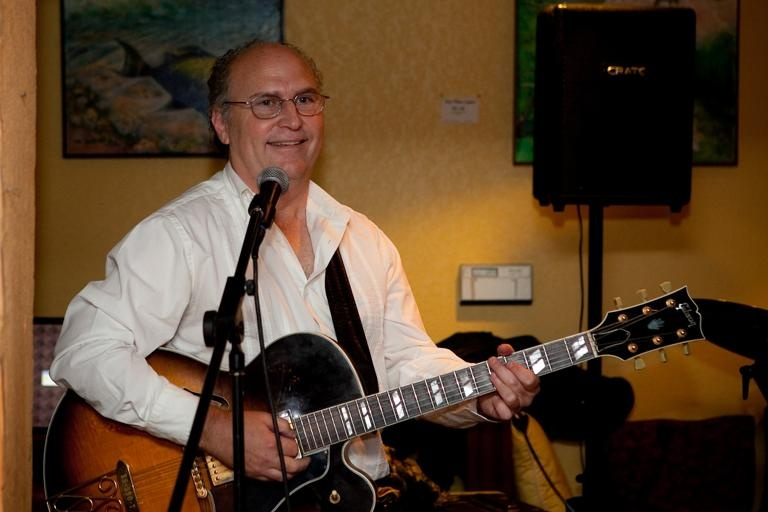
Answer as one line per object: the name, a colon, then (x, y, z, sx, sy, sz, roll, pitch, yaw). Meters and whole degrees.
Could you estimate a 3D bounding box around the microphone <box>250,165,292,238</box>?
microphone: (-0.407, -0.195, 2.957, 0.132, 0.247, 0.226, -2, 3, -6)
